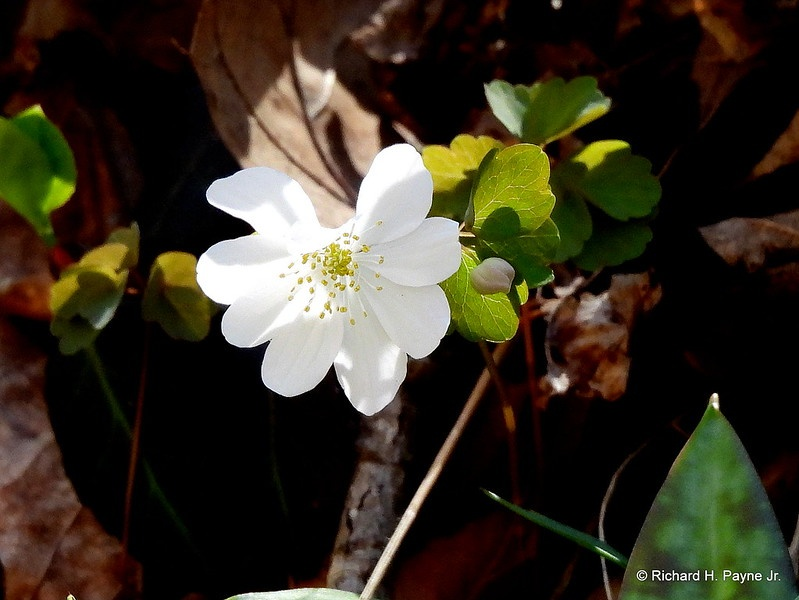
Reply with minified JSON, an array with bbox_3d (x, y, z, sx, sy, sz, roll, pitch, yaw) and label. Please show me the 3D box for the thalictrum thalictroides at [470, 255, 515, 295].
[{"bbox_3d":[0.148,-0.036,1.396,0.071,0.057,0.042,1,13,8],"label":"thalictrum thalictroides"}]
